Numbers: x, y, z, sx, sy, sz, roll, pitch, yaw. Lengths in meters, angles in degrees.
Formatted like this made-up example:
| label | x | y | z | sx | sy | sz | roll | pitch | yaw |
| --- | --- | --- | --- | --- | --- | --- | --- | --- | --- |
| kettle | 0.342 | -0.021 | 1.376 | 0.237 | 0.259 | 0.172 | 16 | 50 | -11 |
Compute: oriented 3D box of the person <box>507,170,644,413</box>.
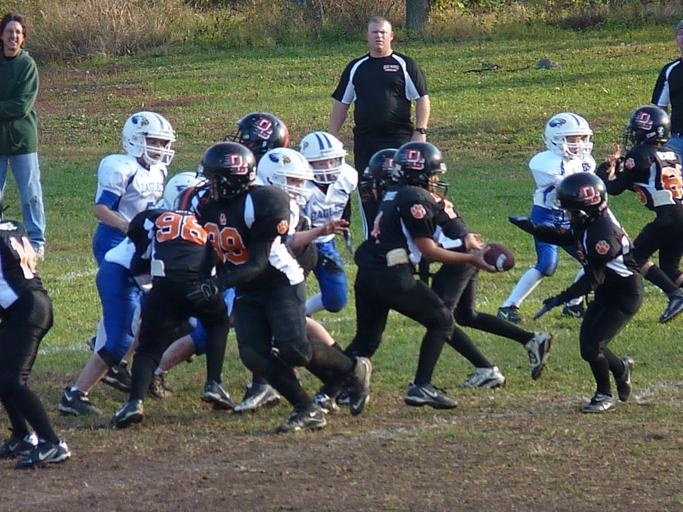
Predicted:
| label | x | y | z | sx | sy | sz | roll | pitch | yaw |
| --- | --- | --- | --- | --- | --- | --- | --- | --- | --- |
| person | 2.463 | 0.347 | 13.124 | 0.996 | 2.311 | 0.771 | 3 | 13 | 18 |

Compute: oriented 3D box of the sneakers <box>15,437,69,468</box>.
| label | x | y | z | sx | sy | sz | roll | pitch | yaw |
| --- | --- | --- | --- | --- | --- | --- | --- | --- | --- |
| sneakers | -2.720 | 1.828 | 12.193 | 0.546 | 0.260 | 0.205 | -9 | 12 | -10 |

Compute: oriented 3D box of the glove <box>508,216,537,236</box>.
| label | x | y | z | sx | sy | sz | roll | pitch | yaw |
| --- | --- | --- | --- | --- | --- | --- | --- | --- | --- |
| glove | 1.829 | -0.330 | 13.347 | 0.208 | 0.053 | 0.210 | 28 | 0 | 30 |
